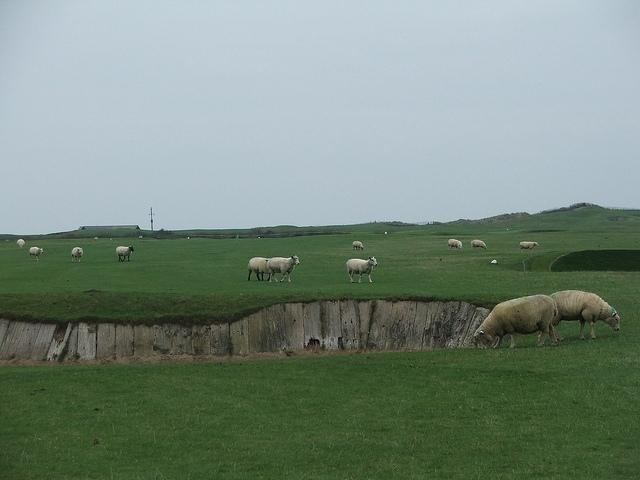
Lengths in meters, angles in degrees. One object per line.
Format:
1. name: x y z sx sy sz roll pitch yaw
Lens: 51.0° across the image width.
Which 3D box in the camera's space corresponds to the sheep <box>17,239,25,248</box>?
1. sheep: -53.518 0.598 119.886 1.272 1.247 2.521 0 -1 -23
